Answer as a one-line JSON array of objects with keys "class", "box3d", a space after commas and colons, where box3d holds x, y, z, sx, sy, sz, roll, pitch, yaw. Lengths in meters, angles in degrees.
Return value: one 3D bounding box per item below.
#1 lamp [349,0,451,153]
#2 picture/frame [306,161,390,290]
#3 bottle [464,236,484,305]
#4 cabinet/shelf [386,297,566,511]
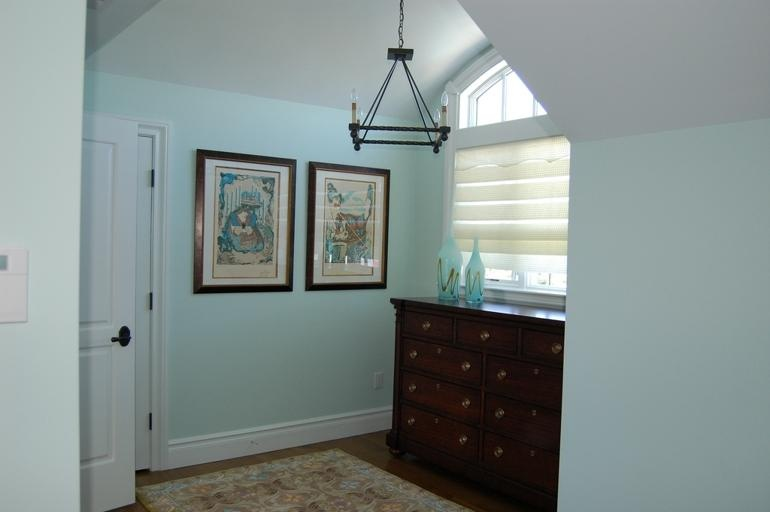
[{"class": "lamp", "box3d": [0.092, -1.222, 3.872, 0.629, 1.109, 1.803, 2, 3, 1]}, {"class": "picture/frame", "box3d": [-0.340, -0.267, 4.459, 1.038, 1.375, 0.063, -3, 5, -36]}, {"class": "bottle", "box3d": [0.665, 0.105, 3.984, 0.130, 0.460, 0.289, 2, 3, 12]}, {"class": "cabinet/shelf", "box3d": [0.606, 0.969, 3.465, 0.509, 1.020, 1.261, 2, -2, -41]}]
